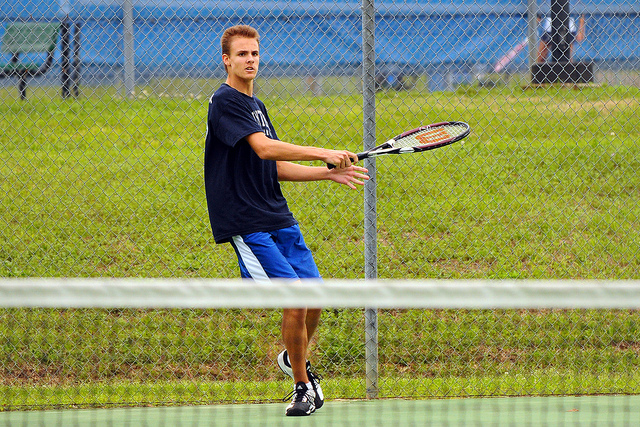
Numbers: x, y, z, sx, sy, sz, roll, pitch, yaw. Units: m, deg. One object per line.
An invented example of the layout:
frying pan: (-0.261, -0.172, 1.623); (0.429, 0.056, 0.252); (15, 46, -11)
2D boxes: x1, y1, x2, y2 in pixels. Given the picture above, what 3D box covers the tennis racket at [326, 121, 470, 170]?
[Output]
tennis racket: (0.895, -0.723, 10.056); (1.515, 0.120, 0.437); (-17, 33, -3)
